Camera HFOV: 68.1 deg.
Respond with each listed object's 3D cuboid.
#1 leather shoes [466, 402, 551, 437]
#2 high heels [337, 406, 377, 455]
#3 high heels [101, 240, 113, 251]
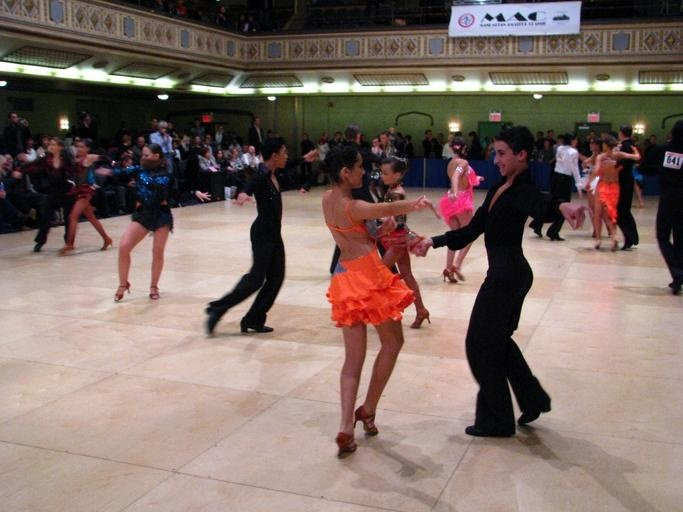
[{"bbox_3d":[1.202,1.174,3.607,0.642,0.201,0.195,-4,12,-18],"label":"leather shoes"},{"bbox_3d":[0.123,1.185,3.468,0.198,0.217,0.522,4,12,20],"label":"high heels"},{"bbox_3d":[-4.755,-0.183,10.201,0.387,0.201,0.119,-18,10,45],"label":"high heels"}]
